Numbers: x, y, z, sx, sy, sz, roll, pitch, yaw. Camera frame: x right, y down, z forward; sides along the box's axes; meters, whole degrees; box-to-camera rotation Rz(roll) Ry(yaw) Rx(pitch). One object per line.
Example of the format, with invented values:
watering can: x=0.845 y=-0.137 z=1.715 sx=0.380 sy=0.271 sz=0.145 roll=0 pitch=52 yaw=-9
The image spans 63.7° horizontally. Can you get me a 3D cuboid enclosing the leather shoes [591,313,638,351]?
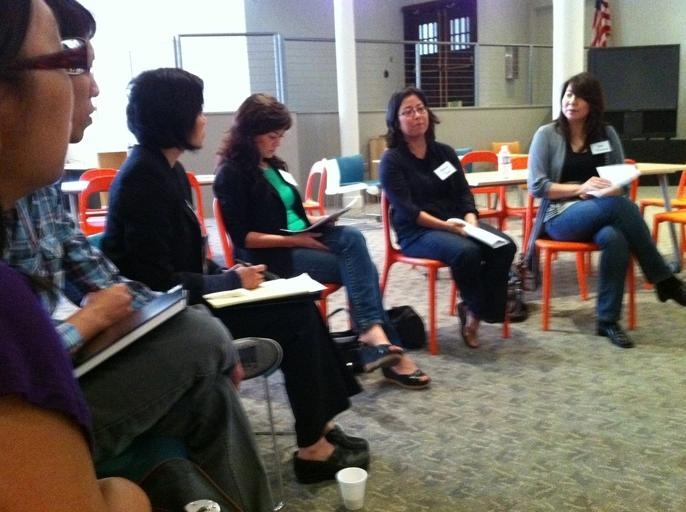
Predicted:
leather shoes: x=1.530 y=0.440 z=3.106 sx=0.088 sy=0.109 sz=0.250 roll=-10 pitch=13 yaw=-13

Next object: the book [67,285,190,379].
book: x=-0.457 y=0.177 z=1.208 sx=0.211 sy=0.028 sz=0.150 roll=-35 pitch=6 yaw=-26

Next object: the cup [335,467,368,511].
cup: x=0.031 y=0.769 z=1.874 sx=0.120 sy=0.113 sz=0.121 roll=-3 pitch=5 yaw=0

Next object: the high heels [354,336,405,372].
high heels: x=0.176 y=0.468 z=2.637 sx=0.207 sy=0.130 sz=0.116 roll=-21 pitch=-17 yaw=1

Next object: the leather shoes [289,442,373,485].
leather shoes: x=-0.044 y=0.764 z=2.061 sx=0.270 sy=0.098 sz=0.117 roll=-6 pitch=12 yaw=-16

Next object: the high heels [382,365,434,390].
high heels: x=0.315 y=0.604 z=2.743 sx=0.211 sy=0.077 sz=0.105 roll=2 pitch=6 yaw=30

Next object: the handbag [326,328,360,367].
handbag: x=0.023 y=0.452 z=2.720 sx=0.148 sy=0.172 sz=0.186 roll=-1 pitch=-3 yaw=6

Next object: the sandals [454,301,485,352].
sandals: x=0.720 y=0.402 z=3.190 sx=0.103 sy=0.282 sz=0.128 roll=-16 pitch=4 yaw=-35

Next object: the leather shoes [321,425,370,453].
leather shoes: x=0.008 y=0.694 z=2.113 sx=0.146 sy=0.064 sz=0.085 roll=28 pitch=-17 yaw=-15

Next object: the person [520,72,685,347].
person: x=1.565 y=-0.343 z=3.344 sx=0.681 sy=1.532 sz=0.931 roll=-6 pitch=13 yaw=-7
